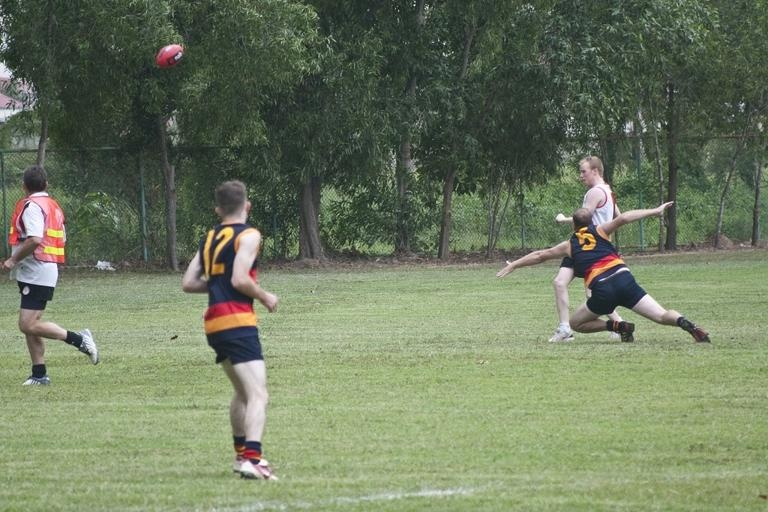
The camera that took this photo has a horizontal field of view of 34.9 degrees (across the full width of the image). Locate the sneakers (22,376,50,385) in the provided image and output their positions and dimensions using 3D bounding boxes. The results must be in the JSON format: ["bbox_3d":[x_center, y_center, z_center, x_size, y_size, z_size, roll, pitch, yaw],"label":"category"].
[{"bbox_3d":[-5.308,1.932,18.818,0.421,0.158,0.147,-1,4,2],"label":"sneakers"}]

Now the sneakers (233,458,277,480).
[{"bbox_3d":[-1.674,2.833,16.115,0.639,0.274,0.225,6,18,-17],"label":"sneakers"}]

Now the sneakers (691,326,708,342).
[{"bbox_3d":[5.211,1.311,20.082,0.197,0.089,0.272,-17,38,-35],"label":"sneakers"}]

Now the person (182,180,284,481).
[{"bbox_3d":[-1.892,0.974,16.188,0.770,3.835,1.260,-6,15,-26],"label":"person"}]

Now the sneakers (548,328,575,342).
[{"bbox_3d":[3.055,1.351,20.725,0.520,0.230,0.185,-4,-1,10],"label":"sneakers"}]
